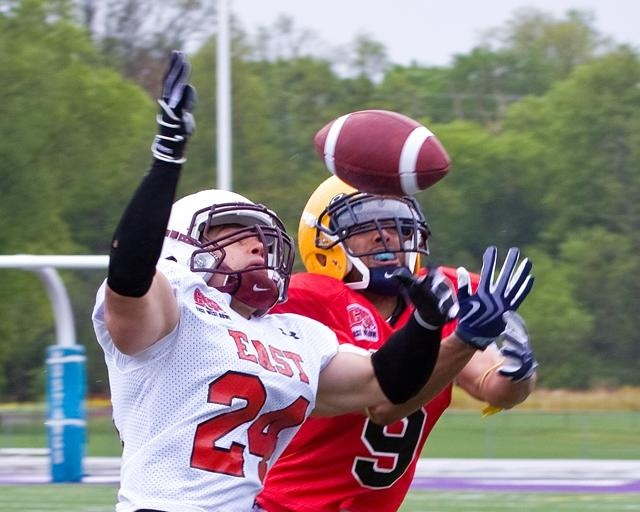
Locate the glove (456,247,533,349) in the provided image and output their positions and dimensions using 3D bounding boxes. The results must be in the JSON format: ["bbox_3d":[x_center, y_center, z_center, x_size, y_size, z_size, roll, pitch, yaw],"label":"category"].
[{"bbox_3d":[1.189,0.282,9.920,0.534,0.707,0.218,0,10,-2],"label":"glove"}]

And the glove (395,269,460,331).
[{"bbox_3d":[0.677,0.241,9.794,0.501,0.248,0.370,35,-1,28],"label":"glove"}]

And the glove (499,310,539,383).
[{"bbox_3d":[1.374,0.621,10.092,0.359,0.436,0.237,-5,14,7],"label":"glove"}]
